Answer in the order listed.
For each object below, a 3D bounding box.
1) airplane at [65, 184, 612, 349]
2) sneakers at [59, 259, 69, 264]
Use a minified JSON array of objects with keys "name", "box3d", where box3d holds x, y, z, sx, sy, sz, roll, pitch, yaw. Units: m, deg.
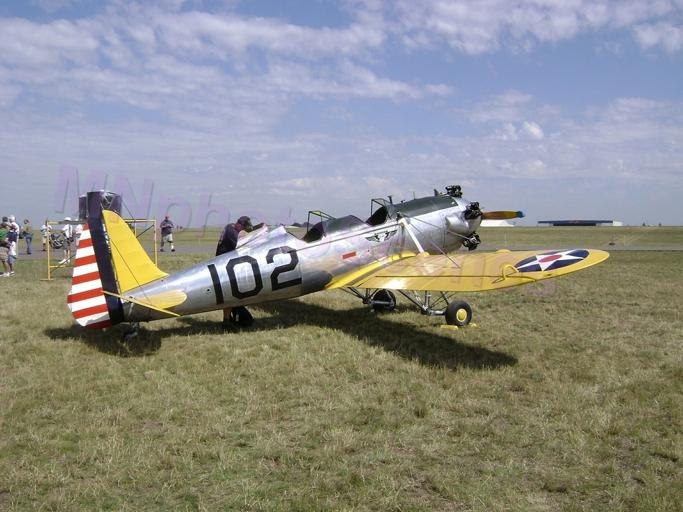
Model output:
[{"name":"airplane","box3d":[-0.540,-0.208,11.581,9.676,2.415,4.489,-1,13,-9]},{"name":"sneakers","box3d":[-12.134,0.254,22.271,0.606,0.222,0.195,4,-8,36]}]
